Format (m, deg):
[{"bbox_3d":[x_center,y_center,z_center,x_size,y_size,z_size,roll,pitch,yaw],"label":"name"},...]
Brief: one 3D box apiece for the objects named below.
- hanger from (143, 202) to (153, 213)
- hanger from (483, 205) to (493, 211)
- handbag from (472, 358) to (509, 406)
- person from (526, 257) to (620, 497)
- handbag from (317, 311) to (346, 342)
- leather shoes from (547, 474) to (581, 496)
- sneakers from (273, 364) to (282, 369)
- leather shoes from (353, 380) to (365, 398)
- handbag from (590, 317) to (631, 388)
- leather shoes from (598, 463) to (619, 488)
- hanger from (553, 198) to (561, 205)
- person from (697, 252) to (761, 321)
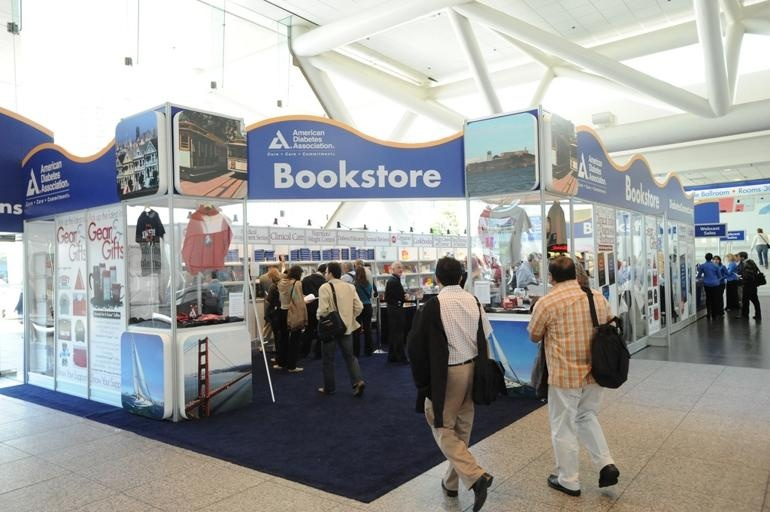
[{"bbox_3d":[-3.543,-0.738,7.991,0.154,0.166,0.103,7,14,26],"label":"hanger"},{"bbox_3d":[1.675,-0.780,8.668,0.072,0.118,0.108,1,2,38],"label":"hanger"},{"bbox_3d":[1.068,1.219,5.444,0.423,0.509,0.471,0,-2,14],"label":"handbag"},{"bbox_3d":[1.931,1.225,5.548,0.794,2.531,0.248,-3,-1,11],"label":"person"},{"bbox_3d":[-0.833,1.089,8.246,0.387,0.373,0.214,-20,-8,8],"label":"handbag"},{"bbox_3d":[1.856,2.373,5.559,0.127,0.101,0.274,-1,-1,-34],"label":"leather shoes"},{"bbox_3d":[-2.089,2.128,10.290,0.188,0.083,0.077,6,5,39],"label":"sneakers"},{"bbox_3d":[-0.411,2.088,8.360,0.113,0.127,0.295,-8,-39,-21],"label":"leather shoes"},{"bbox_3d":[2.315,1.024,5.434,0.449,0.727,0.264,-2,-1,-30],"label":"handbag"},{"bbox_3d":[2.291,2.241,5.476,0.162,0.281,0.128,7,31,0],"label":"leather shoes"},{"bbox_3d":[2.772,-0.868,8.571,0.119,0.116,0.072,-1,4,11],"label":"hanger"},{"bbox_3d":[10.046,0.950,15.567,1.562,1.782,0.969,-7,-16,37],"label":"person"}]
